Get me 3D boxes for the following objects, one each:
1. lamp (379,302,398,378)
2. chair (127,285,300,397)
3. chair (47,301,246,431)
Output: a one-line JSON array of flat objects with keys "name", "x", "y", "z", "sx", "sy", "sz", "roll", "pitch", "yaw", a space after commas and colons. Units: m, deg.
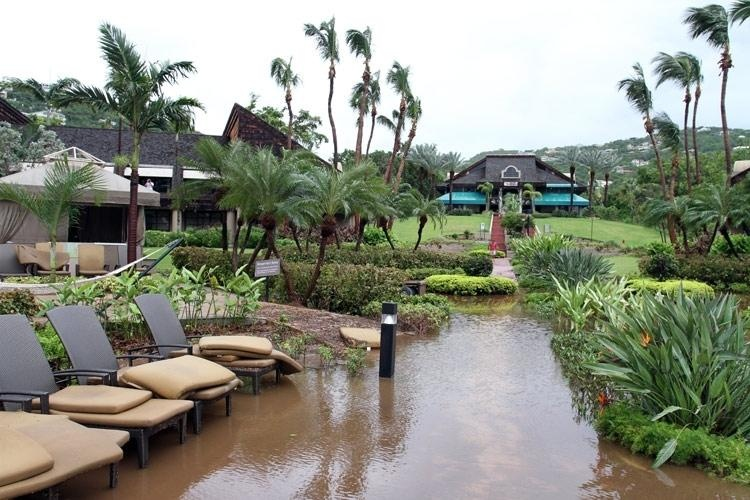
[{"name": "lamp", "x": 0.256, "y": 1.671, "z": 10.594, "sx": 0.292, "sy": 1.393, "sz": 0.363, "roll": 1, "pitch": 11, "yaw": -3}, {"name": "chair", "x": -2.801, "y": 1.546, "z": 10.169, "sx": 2.610, "sy": 1.506, "sz": 1.503, "roll": 1, "pitch": 1, "yaw": -2}, {"name": "chair", "x": -3.484, "y": 1.591, "z": 8.634, "sx": 2.445, "sy": 1.585, "sz": 1.669, "roll": 0, "pitch": 0, "yaw": 16}]
